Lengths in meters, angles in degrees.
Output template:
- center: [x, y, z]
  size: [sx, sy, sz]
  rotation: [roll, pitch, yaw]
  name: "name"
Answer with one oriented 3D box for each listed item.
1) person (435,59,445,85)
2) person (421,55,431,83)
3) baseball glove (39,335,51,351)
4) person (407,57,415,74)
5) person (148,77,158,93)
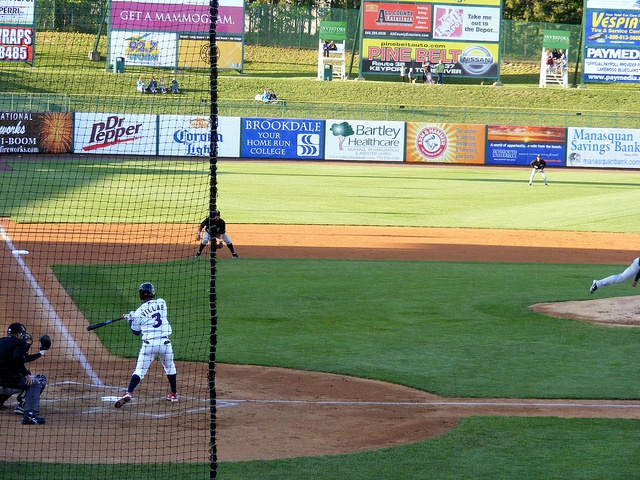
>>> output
- center: [9.281, -12.683, 115.291]
  size: [0.584, 1.801, 0.948]
  rotation: [3, 8, 8]
  name: "person"
- center: [8.308, -12.771, 115.230]
  size: [0.781, 1.888, 0.538]
  rotation: [2, 8, 2]
  name: "person"
- center: [-11.350, 4.287, 62.737]
  size: [0.499, 0.582, 0.618]
  rotation: [17, -29, -8]
  name: "baseball glove"
- center: [6.990, -13.011, 114.809]
  size: [0.375, 1.135, 0.831]
  rotation: [5, 8, 23]
  name: "person"
- center: [-11.631, -10.706, 105.597]
  size: [0.669, 1.024, 2.349]
  rotation: [1, 6, -6]
  name: "person"
